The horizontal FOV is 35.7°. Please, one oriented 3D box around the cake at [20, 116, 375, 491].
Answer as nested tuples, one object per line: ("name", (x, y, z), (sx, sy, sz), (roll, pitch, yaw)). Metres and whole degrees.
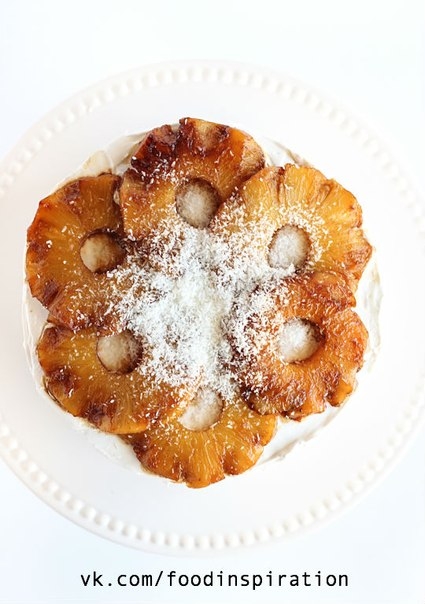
("cake", (-0.041, -0.030, 1.522), (0.791, 0.236, 0.671), (1, 98, -4))
